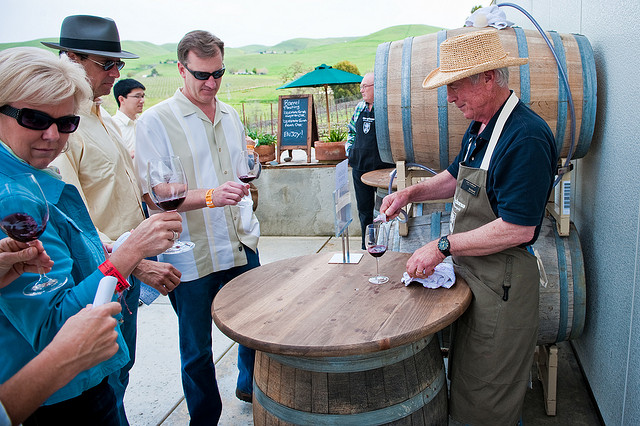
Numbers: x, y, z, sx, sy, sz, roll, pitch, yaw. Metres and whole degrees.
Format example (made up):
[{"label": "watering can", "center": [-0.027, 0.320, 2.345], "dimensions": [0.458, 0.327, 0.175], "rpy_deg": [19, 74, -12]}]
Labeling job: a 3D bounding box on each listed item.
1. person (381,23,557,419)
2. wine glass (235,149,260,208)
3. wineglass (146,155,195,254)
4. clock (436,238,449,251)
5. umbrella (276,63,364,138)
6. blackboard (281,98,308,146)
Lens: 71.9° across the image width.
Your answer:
[{"label": "person", "center": [0.918, 0.022, 2.672], "dimensions": [0.934, 2.363, 0.715], "rpy_deg": [-7, 11, -17]}, {"label": "wine glass", "center": [-0.471, -0.219, 2.912], "dimensions": [0.163, 0.402, 0.437], "rpy_deg": [-5, 9, -7]}, {"label": "wineglass", "center": [-0.768, -0.148, 2.232], "dimensions": [0.190, 0.275, 0.249], "rpy_deg": [-7, 10, -19]}, {"label": "clock", "center": [0.699, 0.177, 2.496], "dimensions": [0.063, 0.067, 0.063], "rpy_deg": [-4, -10, 37]}, {"label": "umbrella", "center": [0.097, -2.227, 8.072], "dimensions": [1.328, 1.014, 1.247], "rpy_deg": [-13, 23, -19]}, {"label": "blackboard", "center": [-0.442, -1.594, 7.615], "dimensions": [0.464, 0.803, 0.229], "rpy_deg": [-2, 10, 11]}]
